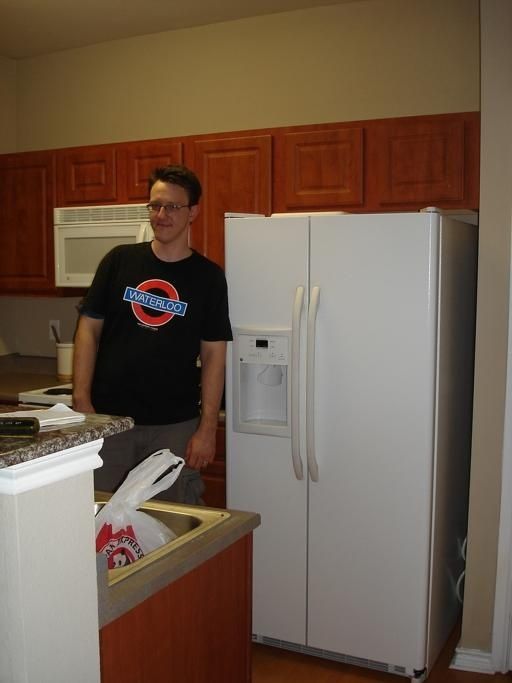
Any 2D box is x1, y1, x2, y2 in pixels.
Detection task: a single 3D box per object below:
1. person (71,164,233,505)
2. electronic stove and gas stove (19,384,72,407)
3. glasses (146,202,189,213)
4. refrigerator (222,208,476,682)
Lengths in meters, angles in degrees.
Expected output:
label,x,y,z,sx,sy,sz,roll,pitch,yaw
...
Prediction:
label,x,y,z,sx,sy,sz,roll,pitch,yaw
person,-0.371,-0.015,1.956,0.569,1.199,0.229,-2,3,-3
electronic stove and gas stove,-0.988,0.263,2.608,0.243,0.062,0.504,-4,4,-20
glasses,-0.300,-0.463,1.917,0.143,0.047,0.074,-3,4,-9
refrigerator,0.336,0.332,2.054,0.932,1.667,0.383,-2,4,11
